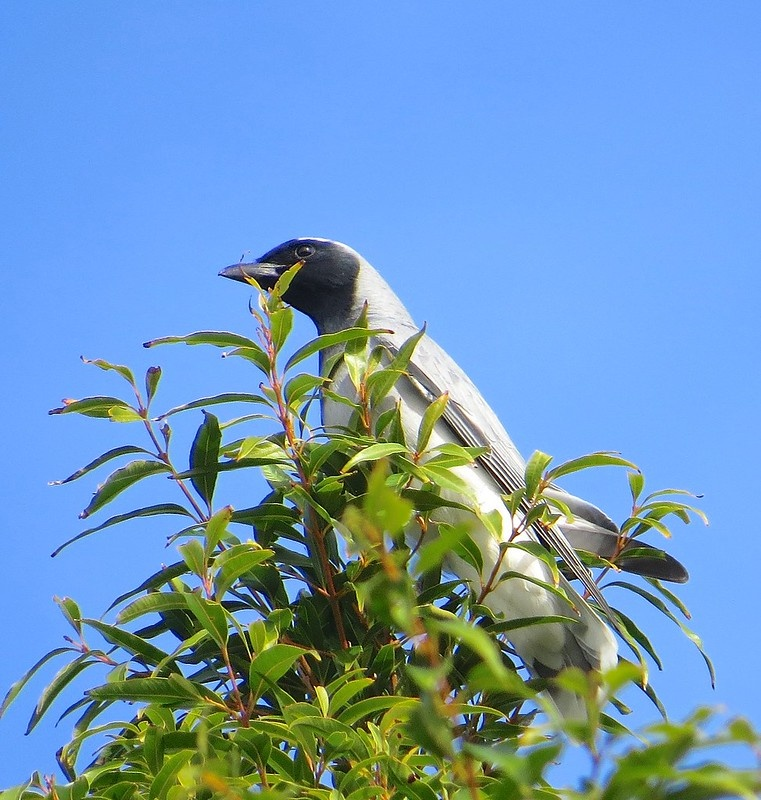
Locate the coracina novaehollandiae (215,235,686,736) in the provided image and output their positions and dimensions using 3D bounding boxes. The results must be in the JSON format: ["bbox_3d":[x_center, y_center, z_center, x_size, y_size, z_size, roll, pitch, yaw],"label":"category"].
[{"bbox_3d":[0.201,0.111,5.418,1.523,2.109,0.687,-9,-38,22],"label":"coracina novaehollandiae"}]
